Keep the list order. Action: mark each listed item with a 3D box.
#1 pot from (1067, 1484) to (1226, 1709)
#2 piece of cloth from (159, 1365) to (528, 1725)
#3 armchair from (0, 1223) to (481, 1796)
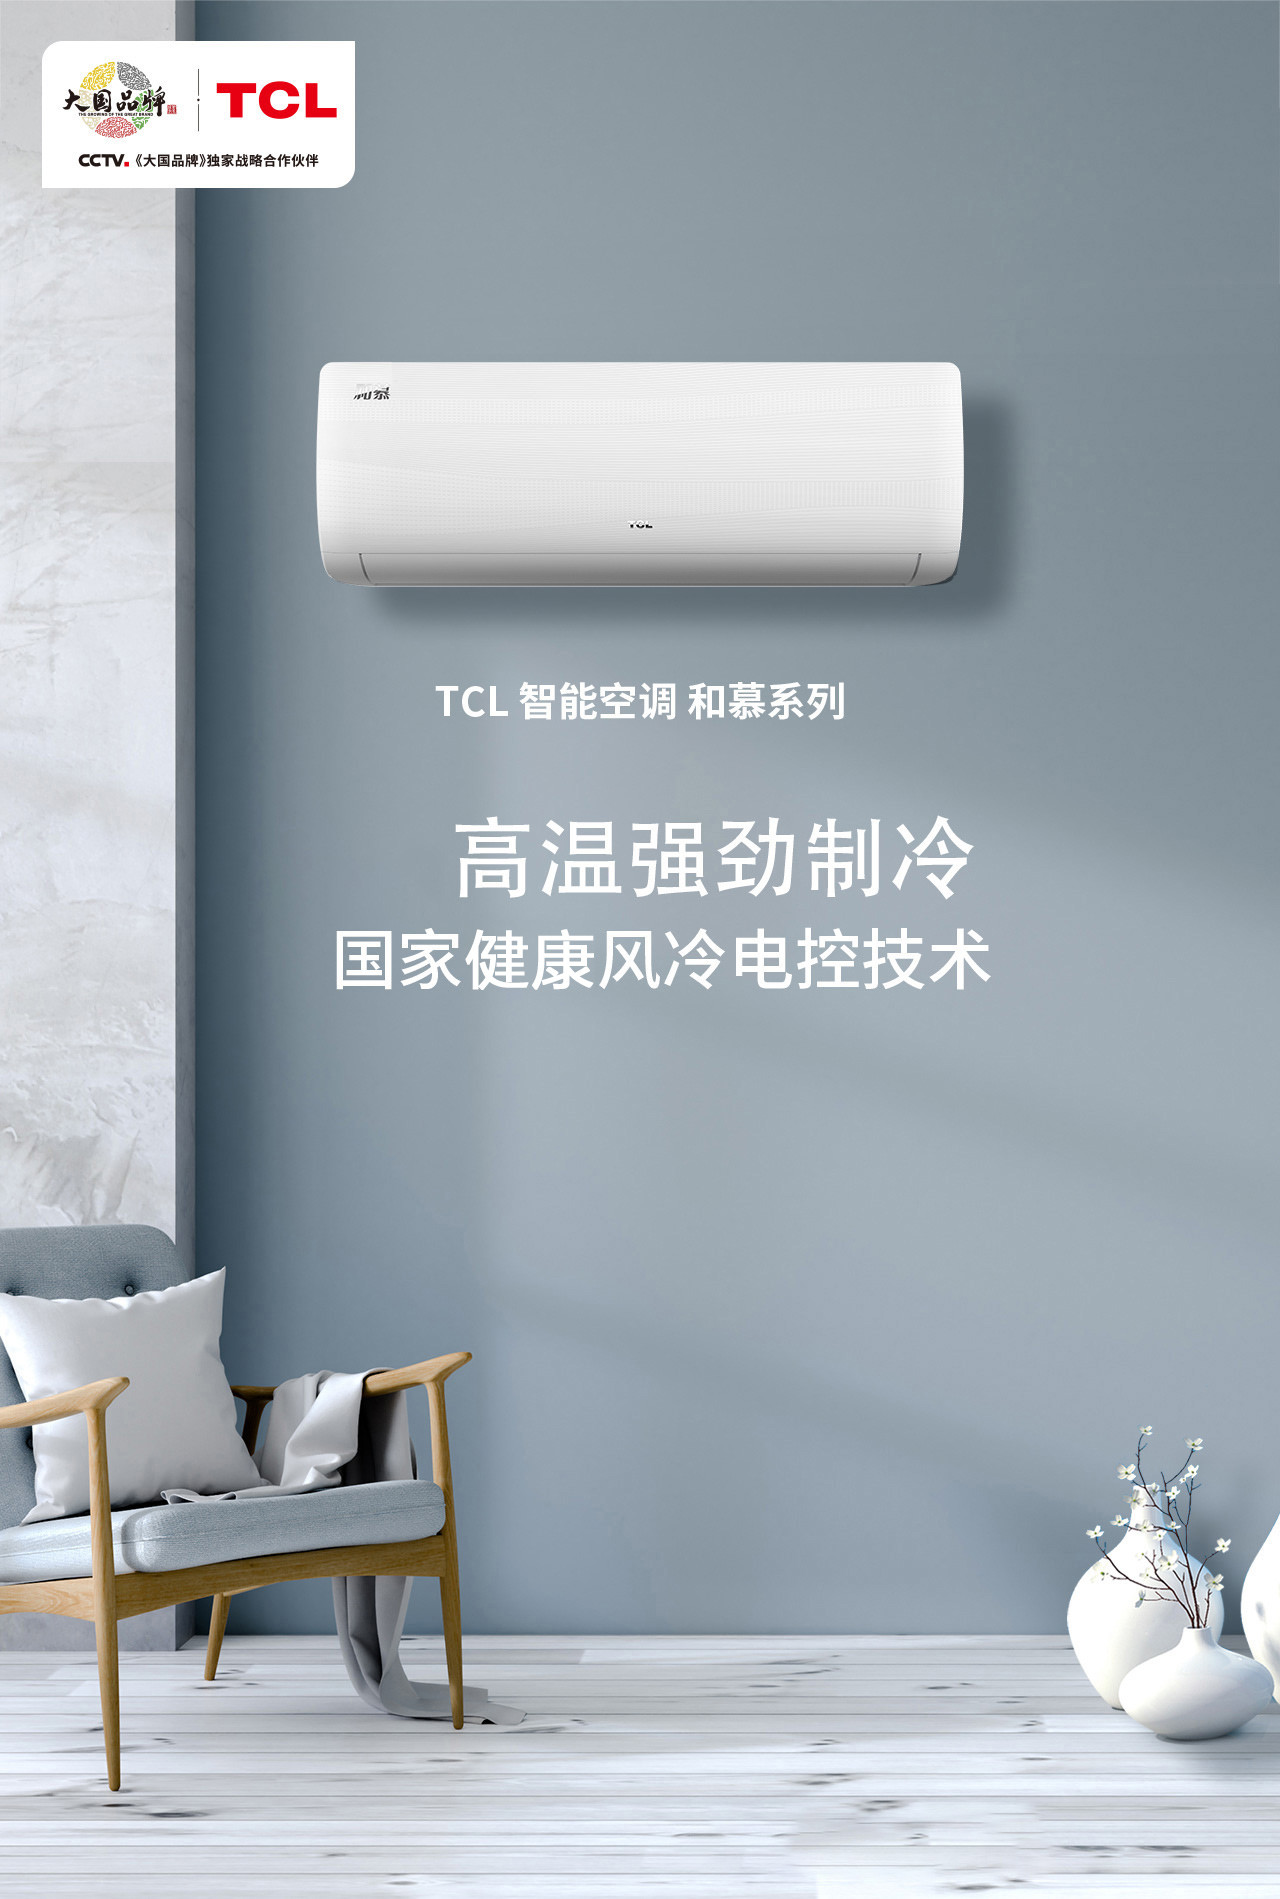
[{"bbox_3d":[0.737,0.960,3.224,0.291,0.369,0.268,1,-6,0],"label":"pot"},{"bbox_3d":[-0.385,0.882,3.164,0.513,0.630,0.448,-3,-10,-2],"label":"piece of cloth"},{"bbox_3d":[-0.685,0.758,3.185,0.676,0.822,0.755,8,-20,-37],"label":"armchair"}]
